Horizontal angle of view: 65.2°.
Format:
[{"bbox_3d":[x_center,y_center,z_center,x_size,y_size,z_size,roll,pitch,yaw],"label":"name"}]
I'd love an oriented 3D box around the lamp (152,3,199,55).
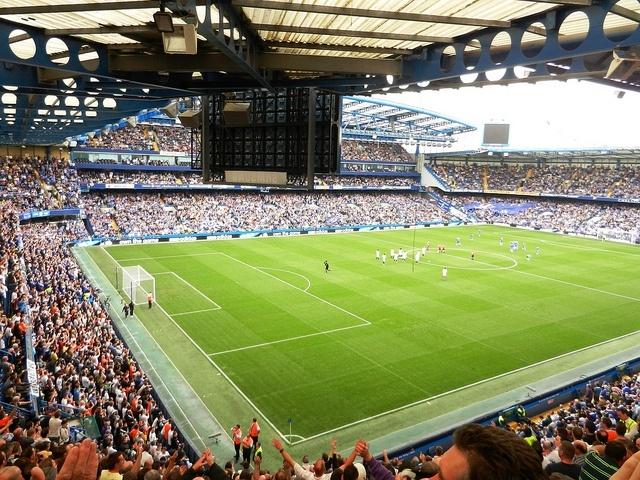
[{"bbox_3d":[-2.593,-3.800,9.030,0.704,0.701,1.124,-2,13,-14],"label":"lamp"}]
